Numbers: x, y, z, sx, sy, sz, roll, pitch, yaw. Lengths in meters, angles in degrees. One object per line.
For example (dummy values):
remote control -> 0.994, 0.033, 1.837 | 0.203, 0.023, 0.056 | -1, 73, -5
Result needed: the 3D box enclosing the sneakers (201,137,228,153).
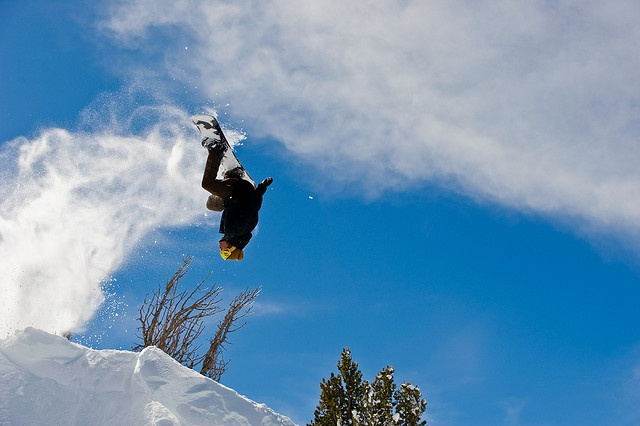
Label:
sneakers -> -1.653, -1.096, 16.948 | 0.498, 0.209, 0.153 | 23, -51, 50
